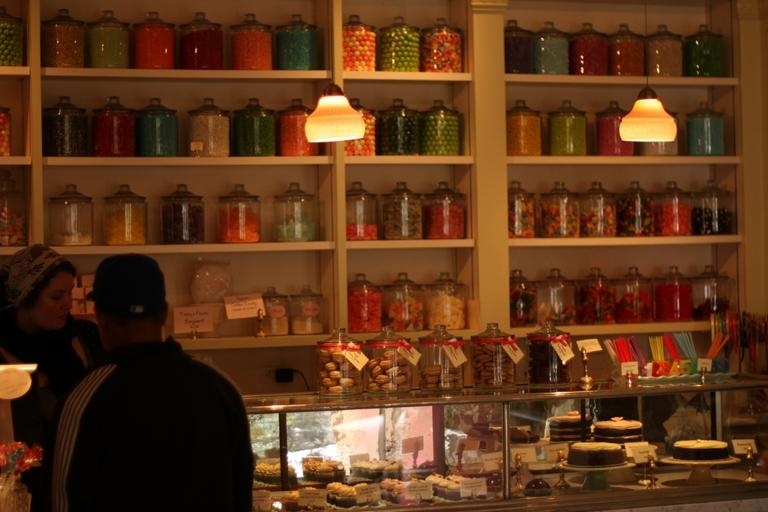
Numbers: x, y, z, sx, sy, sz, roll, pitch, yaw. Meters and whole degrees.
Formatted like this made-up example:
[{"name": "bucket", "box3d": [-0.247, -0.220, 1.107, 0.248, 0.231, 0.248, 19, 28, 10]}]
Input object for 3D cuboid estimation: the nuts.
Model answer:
[{"name": "nuts", "box3d": [0.100, 0.594, 4.464, 1.194, 0.280, 0.628, 0, 1, -12]}]
